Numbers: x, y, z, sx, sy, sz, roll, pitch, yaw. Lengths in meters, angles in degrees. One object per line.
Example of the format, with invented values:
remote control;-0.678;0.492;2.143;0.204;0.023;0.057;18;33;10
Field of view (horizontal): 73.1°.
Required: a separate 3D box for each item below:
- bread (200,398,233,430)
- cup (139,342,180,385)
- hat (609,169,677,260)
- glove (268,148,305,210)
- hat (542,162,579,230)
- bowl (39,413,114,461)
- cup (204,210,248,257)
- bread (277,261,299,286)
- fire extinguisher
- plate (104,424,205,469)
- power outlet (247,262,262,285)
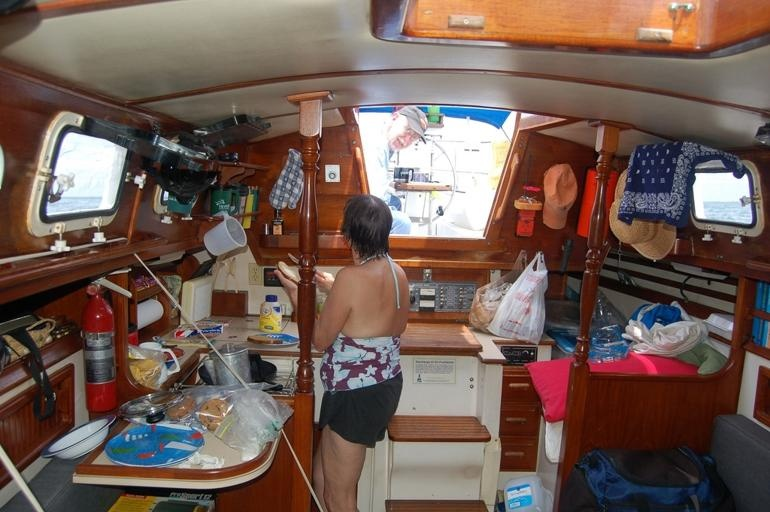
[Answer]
bread;-0.894;0.837;2.721;0.137;0.127;0.126;4;6;29
cup;-1.388;0.653;3.222;0.221;0.201;0.438;-1;5;-25
hat;1.893;-0.294;3.823;0.462;0.624;0.239;3;6;24
glove;-0.781;-0.568;4.056;0.331;0.541;0.083;3;17;-41
hat;1.501;-0.513;4.516;0.272;0.559;0.194;4;6;26
bowl;-1.563;0.954;2.666;0.349;0.085;0.369;-18;10;3
cup;-1.175;-0.135;3.813;0.245;0.353;0.232;-3;-38;-2
bread;-0.730;0.128;3.903;0.067;0.161;0.273;-38;-18;-2
fire extinguisher;-1.537;0.511;2.788;0.138;0.724;0.105;-2;6;-26
plate;-1.131;0.919;2.520;0.373;0.043;0.364;9;8;-35
power outlet;-1.133;0.159;4.522;0.125;0.187;0.015;1;6;-2
